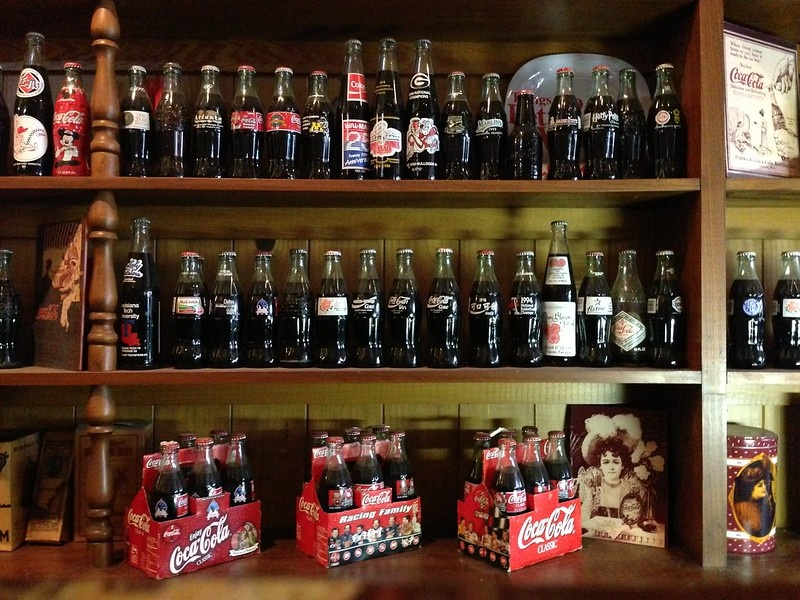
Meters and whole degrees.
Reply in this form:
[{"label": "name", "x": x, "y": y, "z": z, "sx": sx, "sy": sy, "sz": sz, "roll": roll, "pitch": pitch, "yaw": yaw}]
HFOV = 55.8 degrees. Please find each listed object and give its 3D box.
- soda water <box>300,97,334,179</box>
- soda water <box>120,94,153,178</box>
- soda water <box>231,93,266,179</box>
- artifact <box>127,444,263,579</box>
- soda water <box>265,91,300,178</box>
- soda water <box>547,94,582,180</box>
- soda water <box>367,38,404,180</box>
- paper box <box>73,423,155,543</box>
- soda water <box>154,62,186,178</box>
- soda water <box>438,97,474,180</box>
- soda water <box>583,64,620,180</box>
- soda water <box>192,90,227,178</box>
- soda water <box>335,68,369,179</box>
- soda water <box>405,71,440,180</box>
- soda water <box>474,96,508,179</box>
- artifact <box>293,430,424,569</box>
[{"label": "soda water", "x": -0.235, "y": -0.463, "z": 2.163, "sx": 0.091, "sy": 0.225, "sz": 0.078, "roll": -2, "pitch": 1, "yaw": -6}, {"label": "soda water", "x": -0.748, "y": -0.468, "z": 2.148, "sx": 0.091, "sy": 0.243, "sz": 0.057, "roll": -2, "pitch": 1, "yaw": -17}, {"label": "soda water", "x": -0.437, "y": -0.466, "z": 2.157, "sx": 0.087, "sy": 0.238, "sz": 0.058, "roll": -2, "pitch": 1, "yaw": -11}, {"label": "artifact", "x": -0.574, "y": 0.580, "z": 2.139, "sx": 0.184, "sy": 0.295, "sz": 0.335, "roll": -3, "pitch": -5, "yaw": 41}, {"label": "soda water", "x": -0.326, "y": -0.460, "z": 2.133, "sx": 0.099, "sy": 0.236, "sz": 0.109, "roll": -2, "pitch": 1, "yaw": -8}, {"label": "soda water", "x": 0.469, "y": -0.463, "z": 2.158, "sx": 0.092, "sy": 0.212, "sz": 0.092, "roll": -2, "pitch": 1, "yaw": 10}, {"label": "soda water", "x": -0.036, "y": -0.539, "z": 2.163, "sx": 0.097, "sy": 0.377, "sz": 0.158, "roll": -2, "pitch": 1, "yaw": 9}, {"label": "paper box", "x": -0.873, "y": 0.537, "z": 2.219, "sx": 0.207, "sy": 0.263, "sz": 0.207, "roll": -7, "pitch": -15, "yaw": 28}, {"label": "soda water", "x": -0.651, "y": -0.511, "z": 2.153, "sx": 0.095, "sy": 0.335, "sz": 0.121, "roll": -2, "pitch": 1, "yaw": -24}, {"label": "soda water", "x": 0.161, "y": -0.463, "z": 2.154, "sx": 0.088, "sy": 0.218, "sz": 0.064, "roll": -2, "pitch": 1, "yaw": 1}, {"label": "soda water", "x": 0.577, "y": -0.503, "z": 2.169, "sx": 0.106, "sy": 0.278, "sz": 0.161, "roll": -2, "pitch": 1, "yaw": 12}, {"label": "soda water", "x": -0.541, "y": -0.477, "z": 2.153, "sx": 0.095, "sy": 0.262, "sz": 0.059, "roll": -2, "pitch": 1, "yaw": -14}, {"label": "soda water", "x": -0.133, "y": -0.496, "z": 2.152, "sx": 0.091, "sy": 0.287, "sz": 0.068, "roll": -2, "pitch": 1, "yaw": 5}, {"label": "soda water", "x": 0.058, "y": -0.493, "z": 2.142, "sx": 0.095, "sy": 0.285, "sz": 0.102, "roll": -2, "pitch": 1, "yaw": 13}, {"label": "soda water", "x": 0.259, "y": -0.459, "z": 2.157, "sx": 0.092, "sy": 0.210, "sz": 0.101, "roll": -2, "pitch": 1, "yaw": 6}, {"label": "artifact", "x": -0.163, "y": 0.599, "z": 2.261, "sx": 0.288, "sy": 0.346, "sz": 0.387, "roll": 28, "pitch": -33, "yaw": -37}]
